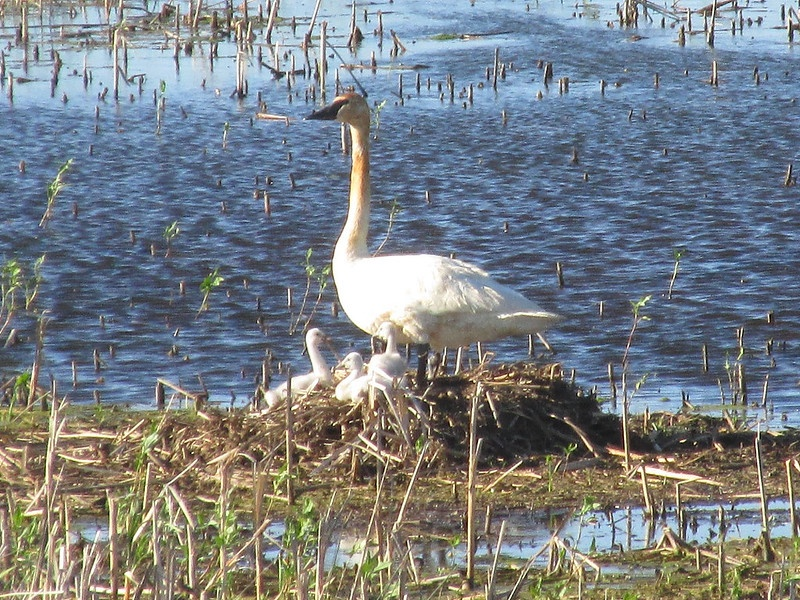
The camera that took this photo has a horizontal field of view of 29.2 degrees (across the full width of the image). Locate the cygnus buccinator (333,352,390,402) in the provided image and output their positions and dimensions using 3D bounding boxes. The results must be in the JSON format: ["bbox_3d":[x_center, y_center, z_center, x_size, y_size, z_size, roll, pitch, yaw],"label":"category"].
[{"bbox_3d":[-0.418,0.832,16.507,0.555,0.483,1.475,0,4,-8],"label":"cygnus buccinator"}]
